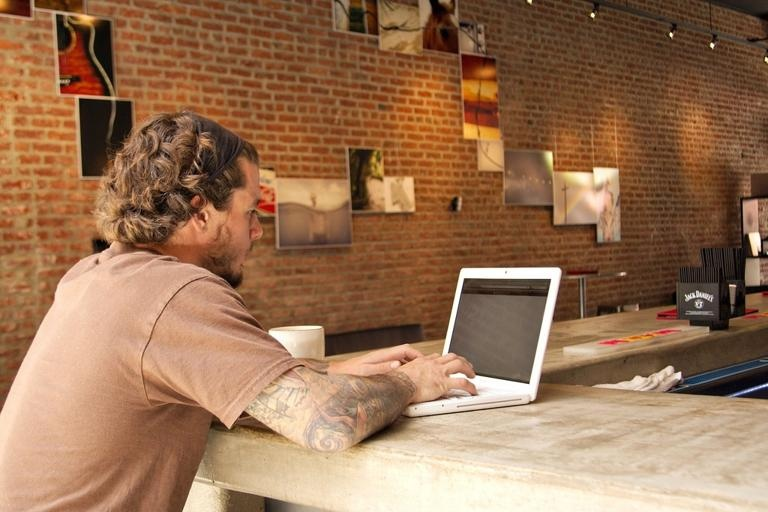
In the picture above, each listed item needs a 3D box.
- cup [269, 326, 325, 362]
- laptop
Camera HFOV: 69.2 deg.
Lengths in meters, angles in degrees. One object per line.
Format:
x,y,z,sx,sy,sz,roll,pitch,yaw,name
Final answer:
-0.274,0.298,1.900,0.142,0.104,0.143,-4,0,0,cup
0.165,0.251,1.635,0.527,0.378,0.581,-5,-2,-20,laptop
